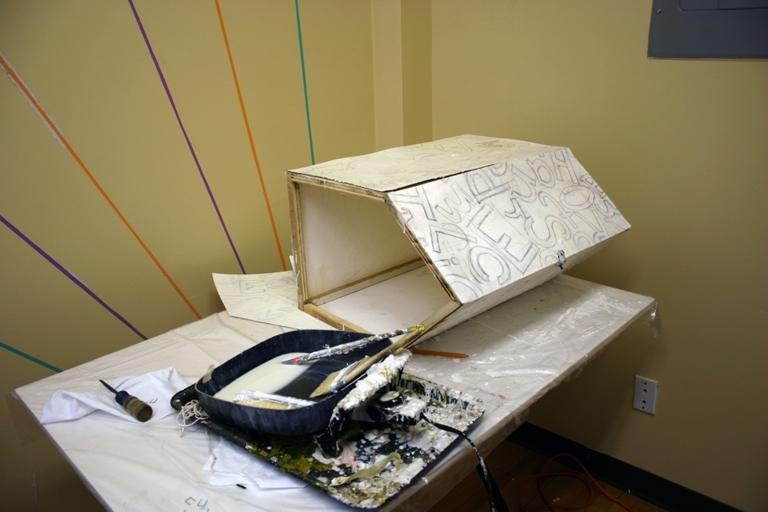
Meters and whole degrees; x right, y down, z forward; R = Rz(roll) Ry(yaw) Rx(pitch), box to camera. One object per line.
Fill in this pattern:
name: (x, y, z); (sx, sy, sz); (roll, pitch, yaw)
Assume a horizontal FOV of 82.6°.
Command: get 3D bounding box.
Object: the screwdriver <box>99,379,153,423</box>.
screwdriver: (-0.749, 0.411, 1.266); (0.271, 0.045, 0.051); (11, 30, 38)
